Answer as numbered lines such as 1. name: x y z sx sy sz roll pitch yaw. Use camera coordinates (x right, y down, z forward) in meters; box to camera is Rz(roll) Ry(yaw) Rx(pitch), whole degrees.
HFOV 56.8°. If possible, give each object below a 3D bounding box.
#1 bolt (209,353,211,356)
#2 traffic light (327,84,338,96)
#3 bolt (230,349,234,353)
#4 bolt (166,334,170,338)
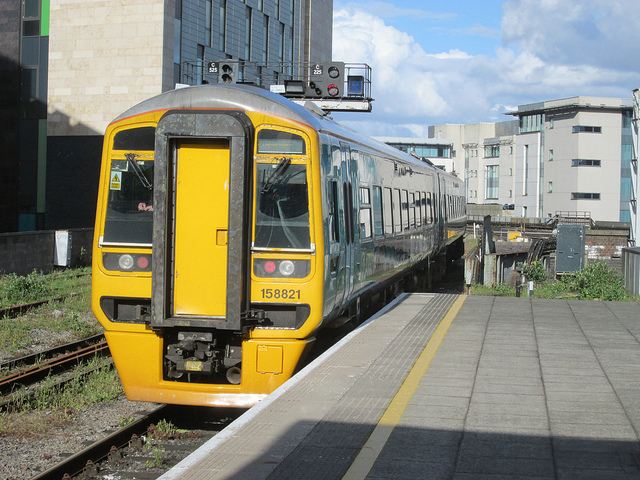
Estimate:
1. bolt: -1.331 1.387 7.151 0.017 0.014 0.026 -2 4 13
2. traffic light: 0.413 -4.859 18.963 0.321 0.440 0.532 -1 2 0
3. bolt: -1.080 1.375 7.296 0.039 0.044 0.010 2 -5 -1
4. bolt: -1.866 1.183 7.291 0.038 0.041 0.009 3 -2 -2
